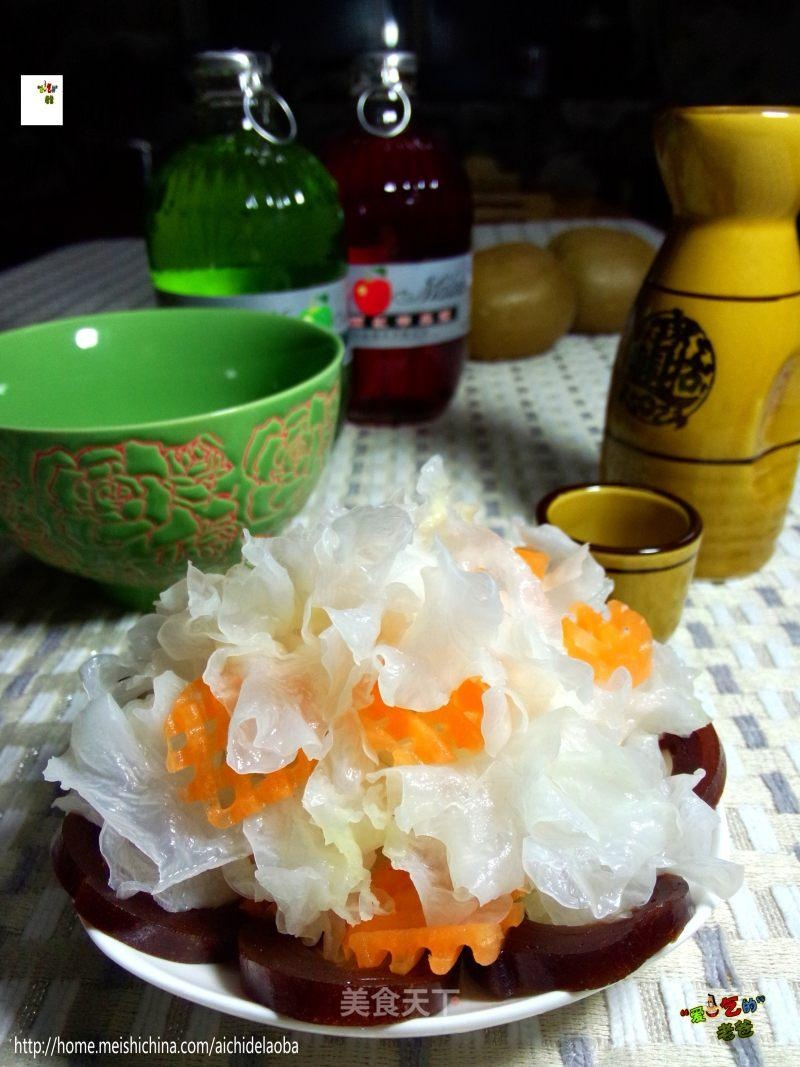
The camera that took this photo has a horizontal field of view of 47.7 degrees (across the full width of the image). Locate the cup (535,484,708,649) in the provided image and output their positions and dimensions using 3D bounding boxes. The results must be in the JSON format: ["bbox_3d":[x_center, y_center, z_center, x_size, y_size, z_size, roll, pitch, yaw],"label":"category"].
[{"bbox_3d":[0.097,0.004,0.431,0.086,0.062,0.080,0,31,0],"label":"cup"}]

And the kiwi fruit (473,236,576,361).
[{"bbox_3d":[0.102,-0.207,0.804,0.091,0.077,0.111,-3,33,1],"label":"kiwi fruit"}]
